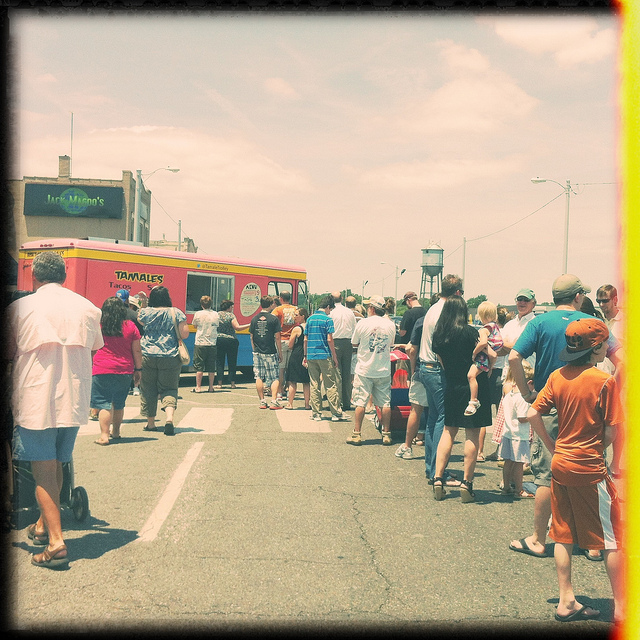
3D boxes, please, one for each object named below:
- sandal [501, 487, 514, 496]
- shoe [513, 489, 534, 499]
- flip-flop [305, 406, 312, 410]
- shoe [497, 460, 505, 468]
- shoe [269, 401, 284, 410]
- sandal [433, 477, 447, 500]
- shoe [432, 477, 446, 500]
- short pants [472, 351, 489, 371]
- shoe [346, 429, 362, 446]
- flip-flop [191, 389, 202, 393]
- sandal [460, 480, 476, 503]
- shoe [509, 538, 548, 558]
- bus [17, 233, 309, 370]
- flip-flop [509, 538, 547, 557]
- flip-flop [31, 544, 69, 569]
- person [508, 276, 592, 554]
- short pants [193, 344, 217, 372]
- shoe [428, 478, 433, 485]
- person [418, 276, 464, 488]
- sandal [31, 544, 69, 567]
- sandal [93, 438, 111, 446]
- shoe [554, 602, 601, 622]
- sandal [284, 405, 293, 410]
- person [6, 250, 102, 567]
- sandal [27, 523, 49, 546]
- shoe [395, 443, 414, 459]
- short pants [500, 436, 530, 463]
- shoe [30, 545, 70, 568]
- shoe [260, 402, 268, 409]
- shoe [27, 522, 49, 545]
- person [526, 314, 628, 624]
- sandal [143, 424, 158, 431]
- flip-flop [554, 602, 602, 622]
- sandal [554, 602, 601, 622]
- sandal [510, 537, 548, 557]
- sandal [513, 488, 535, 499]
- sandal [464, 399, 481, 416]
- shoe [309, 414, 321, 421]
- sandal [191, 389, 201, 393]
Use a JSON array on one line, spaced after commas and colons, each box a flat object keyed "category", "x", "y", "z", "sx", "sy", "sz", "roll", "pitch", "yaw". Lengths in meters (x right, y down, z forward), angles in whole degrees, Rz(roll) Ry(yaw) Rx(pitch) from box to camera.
[{"category": "sandal", "x": 1.692, "y": 1.533, "z": 7.992, "sx": 0.122, "sy": 0.062, "sz": 0.050, "roll": -5, "pitch": 6, "yaw": -33}, {"category": "shoe", "x": 1.819, "y": 1.544, "z": 7.909, "sx": 0.178, "sy": 0.086, "sz": 0.062, "roll": -3, "pitch": -2, "yaw": 33}, {"category": "flip-flop", "x": -0.173, "y": 1.308, "z": 13.160, "sx": 0.114, "sy": 0.035, "sz": 0.128, "roll": -1, "pitch": 0, "yaw": 20}, {"category": "shoe", "x": 1.913, "y": 1.513, "z": 9.372, "sx": 0.093, "sy": 0.031, "sz": 0.102, "roll": -2, "pitch": 4, "yaw": -37}, {"category": "shoe", "x": -0.646, "y": 1.249, "z": 12.936, "sx": 0.080, "sy": 0.098, "sz": 0.205, "roll": 3, "pitch": 2, "yaw": 16}, {"category": "sandal", "x": 1.026, "y": 1.448, "z": 7.671, "sx": 0.064, "sy": 0.089, "sz": 0.209, "roll": 0, "pitch": -43, "yaw": 4}, {"category": "shoe", "x": 1.038, "y": 1.467, "z": 7.687, "sx": 0.064, "sy": 0.214, "sz": 0.089, "roll": 0, "pitch": 38, "yaw": 5}, {"category": "short pants", "x": 1.423, "y": 0.365, "z": 7.858, "sx": 0.117, "sy": 0.236, "sz": 0.170, "roll": 6, "pitch": -13, "yaw": 23}, {"category": "shoe", "x": 0.398, "y": 1.344, "z": 10.040, "sx": 0.222, "sy": 0.195, "sz": 0.086, "roll": 3, "pitch": 2, "yaw": 24}, {"category": "flip-flop", "x": -2.162, "y": 1.236, "z": 15.447, "sx": 0.155, "sy": 0.057, "sz": 0.061, "roll": 4, "pitch": 3, "yaw": 32}, {"category": "sandal", "x": 1.268, "y": 1.481, "z": 7.623, "sx": 0.071, "sy": 0.129, "sz": 0.234, "roll": 0, "pitch": 0, "yaw": 15}, {"category": "shoe", "x": 1.485, "y": 1.576, "z": 6.303, "sx": 0.200, "sy": 0.080, "sz": 0.113, "roll": 15, "pitch": 1, "yaw": 25}, {"category": "bus", "x": -2.317, "y": -0.439, "z": 17.243, "sx": 4.762, "sy": 2.161, "sz": 1.631, "roll": 4, "pitch": 14, "yaw": -20}, {"category": "flip-flop", "x": 1.467, "y": 1.627, "z": 6.304, "sx": 0.186, "sy": 0.075, "sz": 0.115, "roll": 13, "pitch": -1, "yaw": 16}, {"category": "flip-flop", "x": -1.756, "y": 1.526, "z": 5.787, "sx": 0.234, "sy": 0.139, "sz": 0.109, "roll": 3, "pitch": -6, "yaw": 24}, {"category": "person", "x": 1.744, "y": 0.651, "z": 6.556, "sx": 0.683, "sy": 2.017, "sz": 0.532, "roll": 2, "pitch": 7, "yaw": 3}, {"category": "short pants", "x": -1.945, "y": 0.648, "z": 15.035, "sx": 0.286, "sy": 0.244, "sz": 0.420, "roll": 10, "pitch": -40, "yaw": -14}, {"category": "shoe", "x": 1.021, "y": 1.486, "z": 8.184, "sx": 0.009, "sy": 0.047, "sz": 0.045, "roll": 13, "pitch": 24, "yaw": -18}, {"category": "person", "x": 1.089, "y": 0.561, "z": 8.140, "sx": 0.351, "sy": 1.902, "sz": 0.806, "roll": 2, "pitch": 3, "yaw": 7}, {"category": "sandal", "x": -1.757, "y": 1.533, "z": 5.769, "sx": 0.223, "sy": 0.122, "sz": 0.114, "roll": 1, "pitch": -7, "yaw": 22}, {"category": "sandal", "x": -2.365, "y": 1.317, "z": 9.578, "sx": 0.275, "sy": 0.039, "sz": 0.113, "roll": 5, "pitch": 5, "yaw": 43}, {"category": "shoe", "x": 1.538, "y": 1.693, "z": 5.278, "sx": 0.268, "sy": 0.100, "sz": 0.107, "roll": -5, "pitch": 11, "yaw": -25}, {"category": "sandal", "x": -0.471, "y": 1.303, "z": 13.208, "sx": 0.058, "sy": 0.083, "sz": 0.180, "roll": 2, "pitch": -2, "yaw": -32}, {"category": "person", "x": -1.861, "y": 0.556, "z": 6.043, "sx": 0.543, "sy": 2.005, "sz": 0.814, "roll": 1, "pitch": 3, "yaw": 0}, {"category": "sandal", "x": -1.944, "y": 1.488, "z": 6.108, "sx": 0.089, "sy": 0.121, "sz": 0.266, "roll": 5, "pitch": 6, "yaw": -19}, {"category": "shoe", "x": 0.898, "y": 1.388, "z": 9.419, "sx": 0.199, "sy": 0.135, "sz": 0.192, "roll": 2, "pitch": 4, "yaw": 6}, {"category": "short pants", "x": 1.698, "y": 1.151, "z": 7.763, "sx": 0.280, "sy": 0.200, "sz": 0.304, "roll": -3, "pitch": -15, "yaw": 2}, {"category": "shoe", "x": -1.751, "y": 1.521, "z": 5.761, "sx": 0.220, "sy": 0.117, "sz": 0.103, "roll": 1, "pitch": -5, "yaw": 24}, {"category": "shoe", "x": -0.830, "y": 1.252, "z": 12.992, "sx": 0.098, "sy": 0.096, "sz": 0.230, "roll": 2, "pitch": 4, "yaw": 0}, {"category": "shoe", "x": -1.973, "y": 1.494, "z": 6.194, "sx": 0.079, "sy": 0.104, "sz": 0.233, "roll": 5, "pitch": 10, "yaw": -21}, {"category": "person", "x": 1.575, "y": 0.885, "z": 5.407, "sx": 0.462, "sy": 1.761, "sz": 0.709, "roll": 1, "pitch": 3, "yaw": -3}, {"category": "sandal", "x": -2.028, "y": 1.287, "z": 10.625, "sx": 0.156, "sy": 0.067, "sz": 0.202, "roll": 1, "pitch": 4, "yaw": -16}, {"category": "flip-flop", "x": 1.545, "y": 1.743, "z": 5.311, "sx": 0.292, "sy": 0.114, "sz": 0.116, "roll": -2, "pitch": 7, "yaw": -25}, {"category": "sandal", "x": 1.538, "y": 1.694, "z": 5.282, "sx": 0.269, "sy": 0.097, "sz": 0.107, "roll": -6, "pitch": 13, "yaw": -25}, {"category": "sandal", "x": 1.488, "y": 1.581, "z": 6.302, "sx": 0.191, "sy": 0.077, "sz": 0.118, "roll": 14, "pitch": -2, "yaw": 15}, {"category": "sandal", "x": 1.816, "y": 1.542, "z": 7.900, "sx": 0.179, "sy": 0.088, "sz": 0.066, "roll": -2, "pitch": 0, "yaw": 19}, {"category": "sandal", "x": 1.306, "y": 0.750, "z": 7.625, "sx": 0.070, "sy": 0.070, "sz": 0.153, "roll": -22, "pitch": 9, "yaw": 42}, {"category": "shoe", "x": -0.078, "y": 1.316, "z": 11.975, "sx": 0.157, "sy": 0.082, "sz": 0.060, "roll": 3, "pitch": 5, "yaw": 34}, {"category": "sandal", "x": -2.165, "y": 1.243, "z": 15.464, "sx": 0.142, "sy": 0.050, "sz": 0.058, "roll": 5, "pitch": 2, "yaw": 5}]
